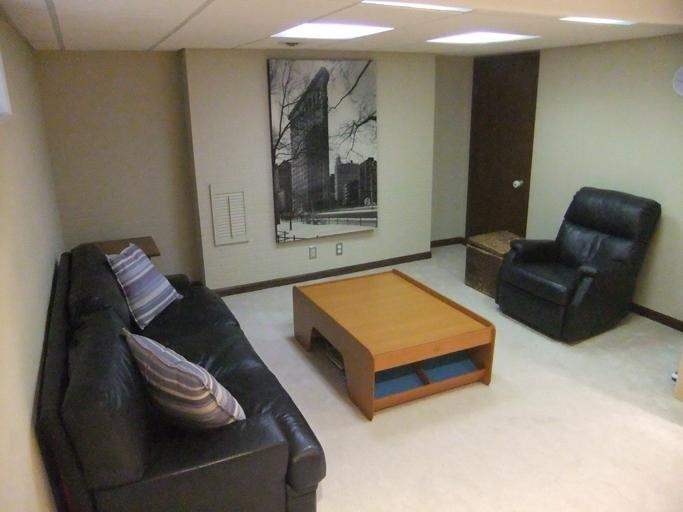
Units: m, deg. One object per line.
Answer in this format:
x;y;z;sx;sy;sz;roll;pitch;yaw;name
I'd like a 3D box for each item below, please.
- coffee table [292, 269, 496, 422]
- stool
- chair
0.459;0.540;3.939;0.947;0.501;1.335;-10;25;-25;coffee table
1.644;0.010;5.599;0.605;0.674;0.612;-7;17;-29;stool
2.139;0.049;4.806;1.142;1.146;0.871;-13;23;-30;chair
